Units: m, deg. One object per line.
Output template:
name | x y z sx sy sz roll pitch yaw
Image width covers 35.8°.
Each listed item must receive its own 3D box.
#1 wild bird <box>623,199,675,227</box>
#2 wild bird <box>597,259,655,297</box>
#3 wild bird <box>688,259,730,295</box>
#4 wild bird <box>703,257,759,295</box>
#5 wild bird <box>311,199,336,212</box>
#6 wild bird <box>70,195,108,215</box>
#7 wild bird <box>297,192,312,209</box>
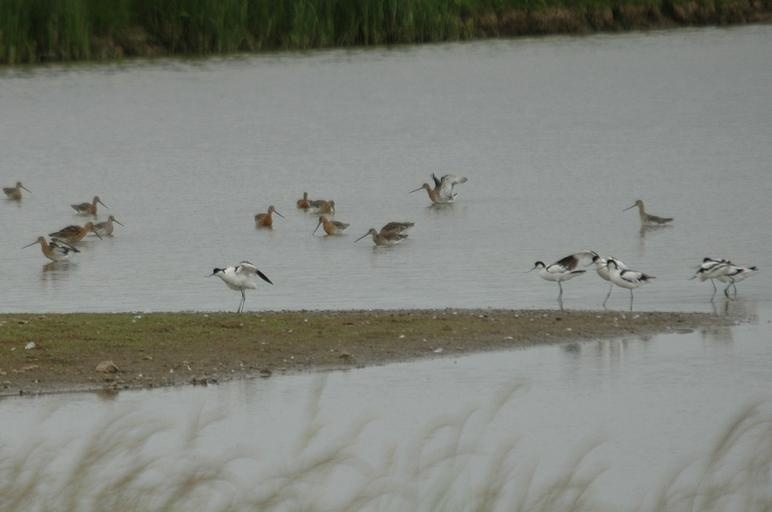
wild bird | 10.269 -1.803 46.203 1.372 0.847 3.312 2 11 9
wild bird | 6.609 0.576 32.295 1.569 1.029 0.608 -1 8 -22
wild bird | 9.137 0.505 33.220 1.312 0.982 0.406 -10 -1 -13
wild bird | 9.503 0.434 32.986 1.401 0.968 0.564 -4 11 13
wild bird | -2.445 -1.977 46.549 0.400 0.464 1.350 -7 13 -33
wild bird | -11.725 -2.010 46.997 0.921 0.744 1.876 -7 13 -31
wild bird | -3.355 -2.199 48.757 0.544 0.853 0.647 1 10 -6
